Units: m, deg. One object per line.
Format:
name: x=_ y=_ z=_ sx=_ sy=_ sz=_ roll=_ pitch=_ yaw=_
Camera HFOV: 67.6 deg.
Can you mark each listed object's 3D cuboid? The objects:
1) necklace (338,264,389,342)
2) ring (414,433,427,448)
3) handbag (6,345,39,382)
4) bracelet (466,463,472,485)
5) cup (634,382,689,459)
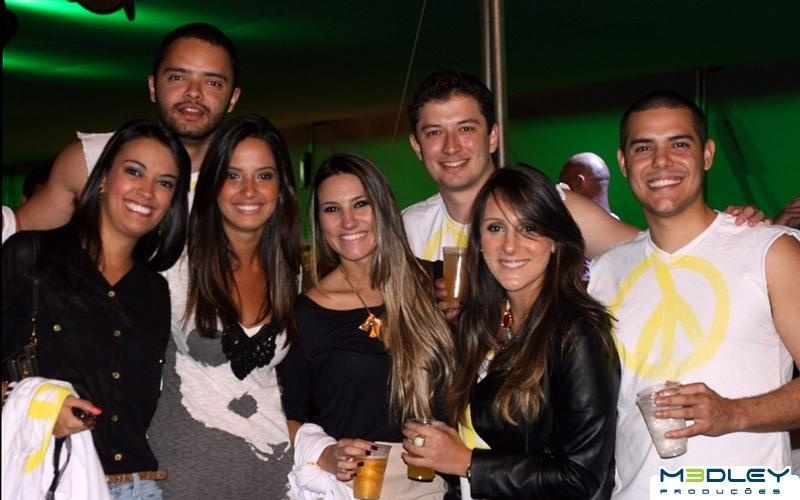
necklace: x=-0.249 y=0.327 z=3.646 sx=0.138 sy=0.492 sz=0.105 roll=-28 pitch=-20 yaw=-21
ring: x=0.109 y=0.966 z=3.027 sx=0.073 sy=0.069 sz=0.017 roll=-4 pitch=-9 yaw=17
handbag: x=-1.866 y=0.565 z=2.947 sx=0.102 sy=0.170 sz=0.099 roll=-23 pitch=-10 yaw=-41
bracelet: x=0.355 y=1.145 z=3.059 sx=0.029 sy=0.105 sz=0.050 roll=0 pitch=-8 yaw=-8
cup: x=1.267 y=0.827 z=2.878 sx=0.164 sy=0.366 sz=0.259 roll=-7 pitch=-10 yaw=36
